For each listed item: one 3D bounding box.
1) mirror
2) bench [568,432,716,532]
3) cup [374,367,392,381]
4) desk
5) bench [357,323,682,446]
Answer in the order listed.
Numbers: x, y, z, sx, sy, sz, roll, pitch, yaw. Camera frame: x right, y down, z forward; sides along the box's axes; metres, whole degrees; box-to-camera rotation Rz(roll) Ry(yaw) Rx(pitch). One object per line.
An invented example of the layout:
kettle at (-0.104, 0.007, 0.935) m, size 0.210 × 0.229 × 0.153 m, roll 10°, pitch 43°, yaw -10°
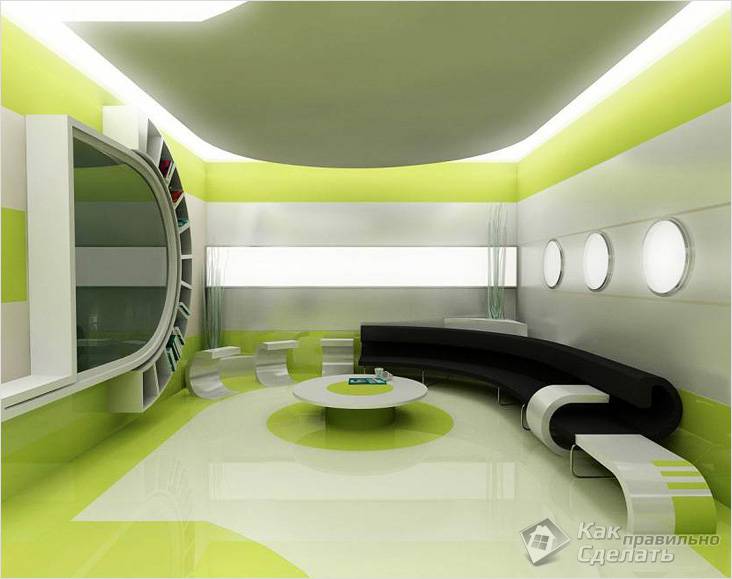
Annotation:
mirror at (-2.174, -0.317, 4.371) m, size 0.414 × 1.981 × 2.214 m, roll -17°, pitch 6°, yaw -8°
bench at (2.178, 1.484, 3.445) m, size 0.491 × 0.291 × 1.204 m, roll -10°, pitch -12°, yaw 22°
cup at (0.177, 0.955, 5.086) m, size 0.198 × 0.129 × 0.189 m, roll 8°, pitch -5°, yaw 1°
desk at (-0.072, 1.184, 4.698) m, size 1.303 × 0.396 × 1.045 m, roll 1°, pitch 6°, yaw 7°
bench at (1.480, 0.945, 5.064) m, size 1.341 × 0.864 × 3.519 m, roll -3°, pitch 7°, yaw -31°
